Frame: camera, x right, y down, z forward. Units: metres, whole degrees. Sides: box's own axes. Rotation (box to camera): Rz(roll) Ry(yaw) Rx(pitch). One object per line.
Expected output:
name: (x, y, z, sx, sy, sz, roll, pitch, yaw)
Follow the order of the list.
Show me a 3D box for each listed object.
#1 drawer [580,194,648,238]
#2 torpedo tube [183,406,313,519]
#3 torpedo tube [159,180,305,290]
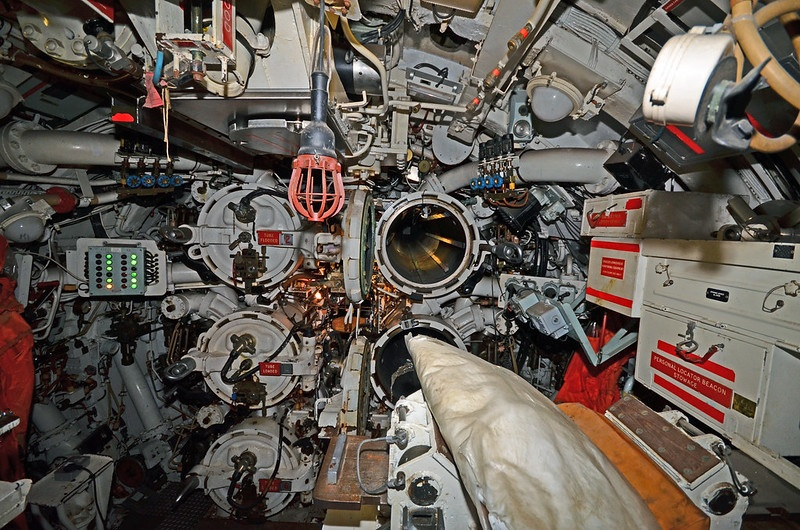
drawer: (2.745, -0.646, 6.023, 0.417, 1.045, 0.554, -2, -85, 1)
torpedo tube: (-2.305, 3.341, 7.457, 2.040, 0.893, 1.590, -18, -85, 1)
torpedo tube: (-2.665, -0.520, 8.040, 2.026, 0.824, 1.569, 3, -87, 1)
